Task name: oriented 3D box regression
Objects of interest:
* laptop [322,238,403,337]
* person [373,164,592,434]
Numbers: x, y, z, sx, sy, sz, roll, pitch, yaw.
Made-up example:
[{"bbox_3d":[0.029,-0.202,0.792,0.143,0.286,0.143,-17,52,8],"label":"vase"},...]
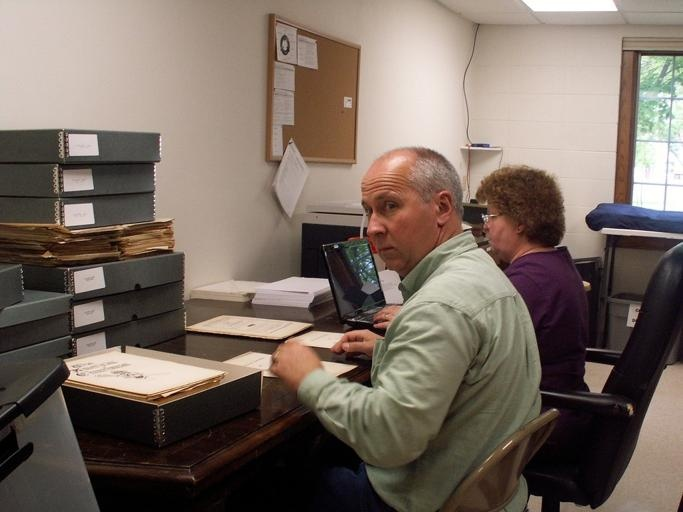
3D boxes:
[{"bbox_3d":[0.063,0.094,2.132,0.309,0.296,0.381,5,12,20],"label":"laptop"},{"bbox_3d":[0.587,0.165,2.013,0.833,1.014,0.665,3,-3,-39],"label":"person"}]
